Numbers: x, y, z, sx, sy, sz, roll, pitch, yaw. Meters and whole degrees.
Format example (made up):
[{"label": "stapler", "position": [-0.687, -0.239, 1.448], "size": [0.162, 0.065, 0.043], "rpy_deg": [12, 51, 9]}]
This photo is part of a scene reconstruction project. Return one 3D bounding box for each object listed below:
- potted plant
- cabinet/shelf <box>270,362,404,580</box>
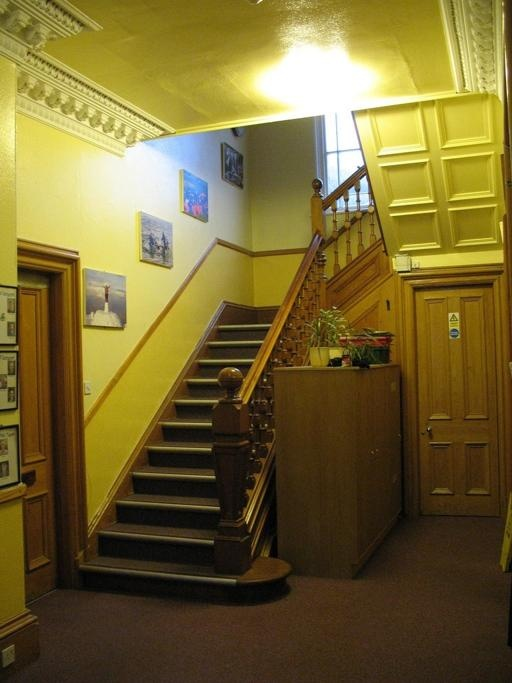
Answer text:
[{"label": "potted plant", "position": [0.623, 0.022, 3.906], "size": [0.482, 0.374, 0.569], "rpy_deg": [0, 1, 22]}, {"label": "cabinet/shelf", "position": [0.512, 0.904, 3.527], "size": [0.426, 1.211, 1.304], "rpy_deg": [-1, -4, 23]}]
